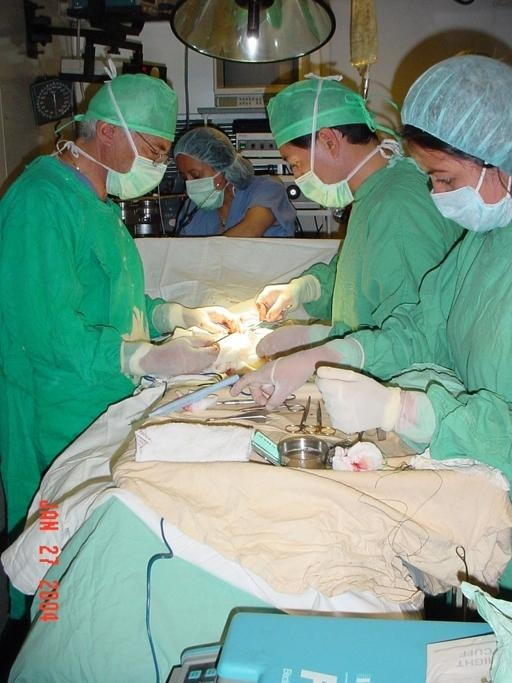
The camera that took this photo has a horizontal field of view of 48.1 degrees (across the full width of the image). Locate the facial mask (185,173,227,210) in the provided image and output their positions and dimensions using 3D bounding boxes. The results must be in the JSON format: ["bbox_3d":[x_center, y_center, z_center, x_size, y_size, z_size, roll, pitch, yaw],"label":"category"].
[{"bbox_3d":[-0.215,-0.659,2.555,0.130,0.091,0.124,-35,31,-10],"label":"facial mask"}]

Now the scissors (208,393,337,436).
[{"bbox_3d":[0.038,0.157,1.235,0.254,0.010,0.087,3,20,5],"label":"scissors"}]

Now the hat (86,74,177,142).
[{"bbox_3d":[-0.337,-0.615,1.581,0.211,0.134,0.186,18,16,16],"label":"hat"}]

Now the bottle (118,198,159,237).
[{"bbox_3d":[-0.517,-0.565,2.580,0.202,0.173,0.144,-15,28,-32],"label":"bottle"}]

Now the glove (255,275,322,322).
[{"bbox_3d":[0.102,-0.159,1.954,0.129,0.087,0.228,34,42,32],"label":"glove"}]

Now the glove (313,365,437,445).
[{"bbox_3d":[0.218,0.112,1.081,0.210,0.108,0.079,9,27,21],"label":"glove"}]

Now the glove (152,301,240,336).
[{"bbox_3d":[-0.216,-0.074,1.962,0.330,0.110,0.096,11,44,17],"label":"glove"}]

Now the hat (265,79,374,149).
[{"bbox_3d":[0.175,-0.628,1.619,0.238,0.143,0.180,-5,23,30],"label":"hat"}]

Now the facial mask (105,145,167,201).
[{"bbox_3d":[-0.346,-0.471,1.630,0.122,0.066,0.113,31,27,4],"label":"facial mask"}]

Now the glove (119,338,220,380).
[{"bbox_3d":[-0.228,0.039,1.485,0.154,0.047,0.147,-5,12,-18],"label":"glove"}]

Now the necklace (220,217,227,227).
[{"bbox_3d":[-0.158,-0.553,2.698,0.012,0.043,0.042,-1,-4,-13],"label":"necklace"}]

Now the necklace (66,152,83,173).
[{"bbox_3d":[-0.499,-0.485,1.583,0.021,0.054,0.041,-42,-9,30],"label":"necklace"}]

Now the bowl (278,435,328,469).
[{"bbox_3d":[0.082,0.190,1.024,0.060,0.019,0.059,1,12,0],"label":"bowl"}]
